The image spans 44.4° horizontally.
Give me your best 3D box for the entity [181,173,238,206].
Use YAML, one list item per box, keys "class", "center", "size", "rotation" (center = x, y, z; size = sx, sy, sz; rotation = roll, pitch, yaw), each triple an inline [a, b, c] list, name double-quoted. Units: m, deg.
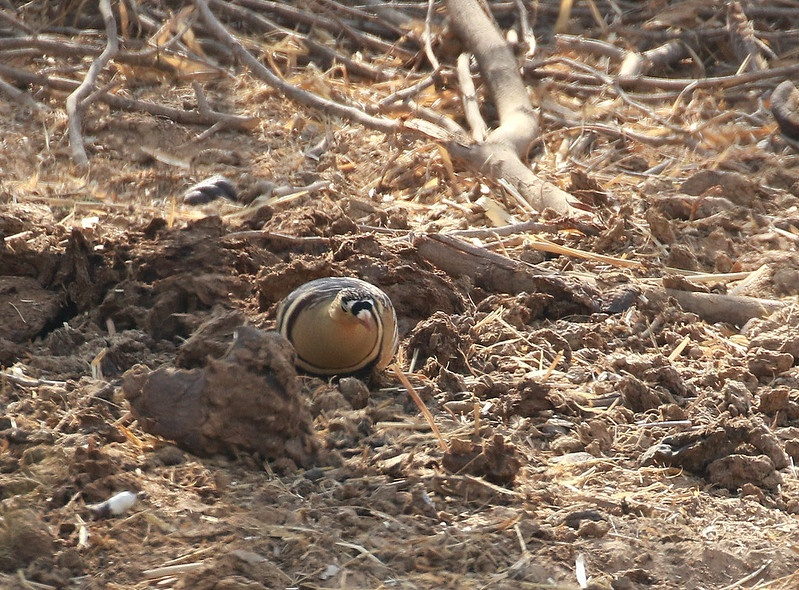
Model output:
- class: "entity"
  center: [-1.129, -0.627, 5.942]
  size: [0.313, 0.101, 0.206]
  rotation: [-11, 10, -1]
